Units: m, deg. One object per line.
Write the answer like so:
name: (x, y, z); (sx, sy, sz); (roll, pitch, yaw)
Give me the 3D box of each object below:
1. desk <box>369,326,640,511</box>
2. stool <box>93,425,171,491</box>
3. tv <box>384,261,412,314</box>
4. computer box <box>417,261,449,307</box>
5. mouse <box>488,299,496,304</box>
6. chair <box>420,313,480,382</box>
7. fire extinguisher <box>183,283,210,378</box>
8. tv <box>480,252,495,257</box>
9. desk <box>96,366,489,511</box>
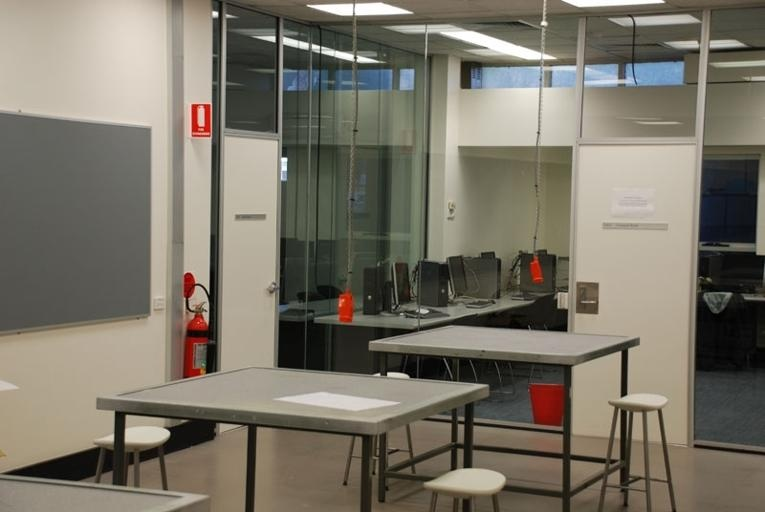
desk: (1.136, 0.998, 5.823); (1.850, 1.354, 1.592); (1, 1, 33)
stool: (-1.791, 1.456, 4.755); (0.409, 0.466, 0.393); (11, 1, 25)
tv: (0.204, 0.296, 7.724); (0.060, 0.540, 0.309); (13, -2, -39)
computer box: (0.573, 0.296, 7.698); (0.336, 0.500, 0.317); (3, -1, 7)
mouse: (1.184, 0.481, 7.408); (0.081, 0.044, 0.016); (3, 7, 10)
chair: (0.772, 0.985, 7.365); (0.812, 0.422, 0.582); (-2, -3, 19)
fire extinguisher: (-1.764, 0.649, 6.684); (0.215, 0.993, 0.376); (5, 7, 24)
tv: (1.139, -0.026, 7.432); (0.161, 0.079, 0.028); (5, 7, 26)
desk: (-0.543, 1.132, 4.469); (2.172, 0.640, 1.146); (4, 7, 17)
